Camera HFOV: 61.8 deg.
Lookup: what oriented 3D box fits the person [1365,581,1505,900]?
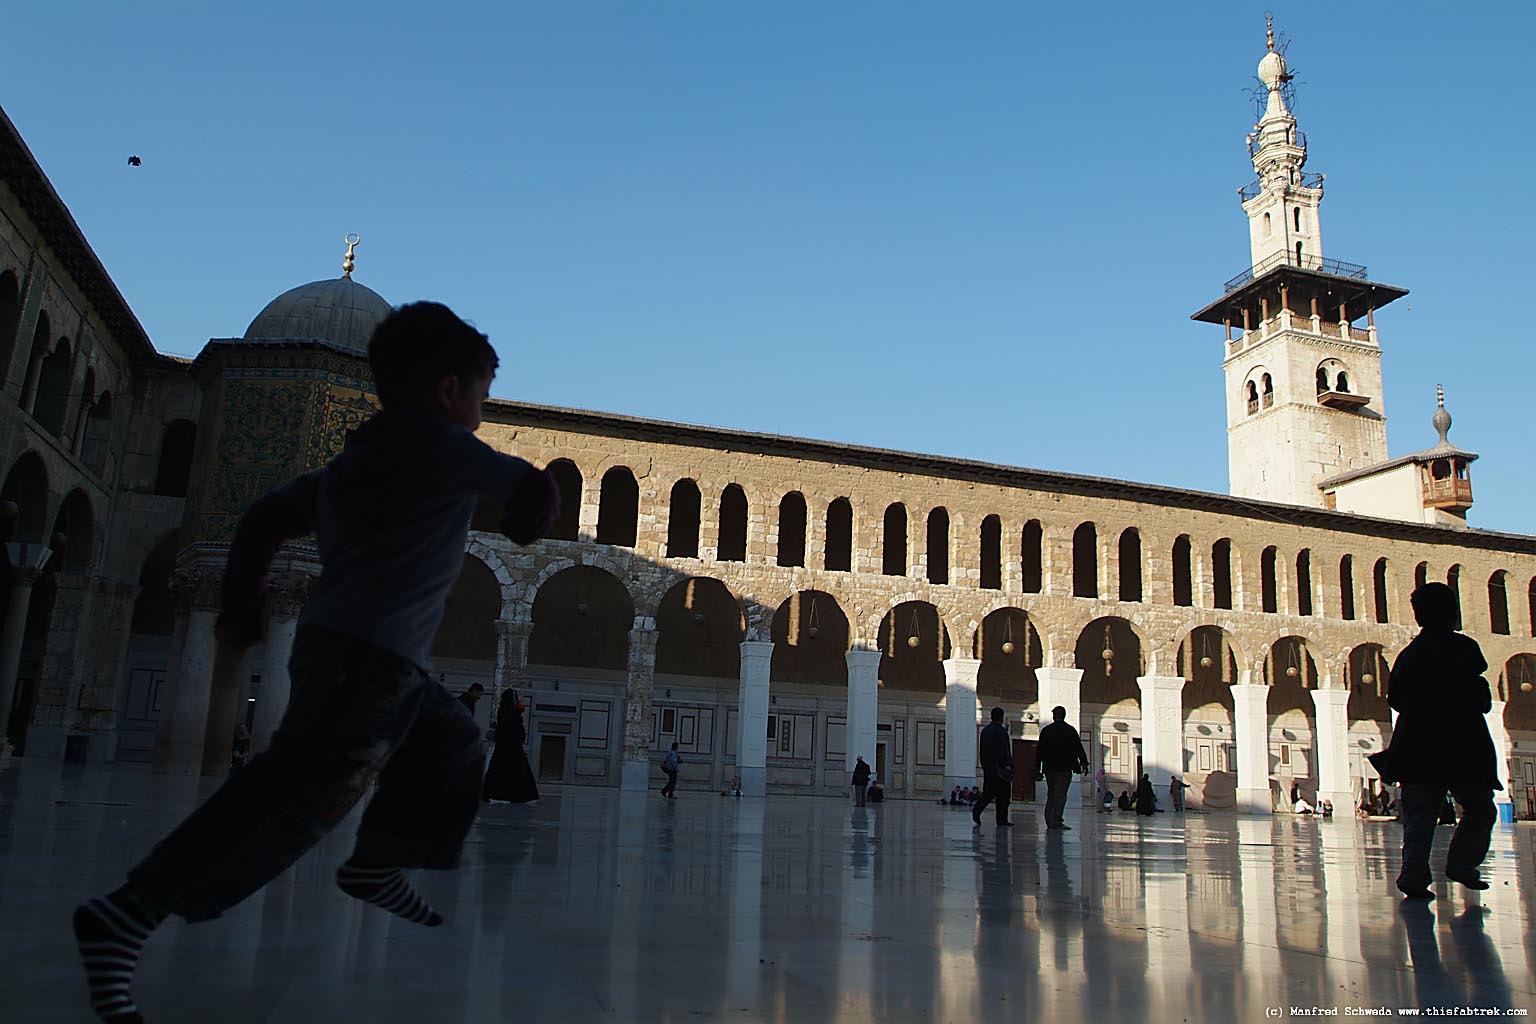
[{"bbox_3d":[4.539,1.519,8.748,0.733,2.189,0.755,-7,-21,27],"label":"person"}]
